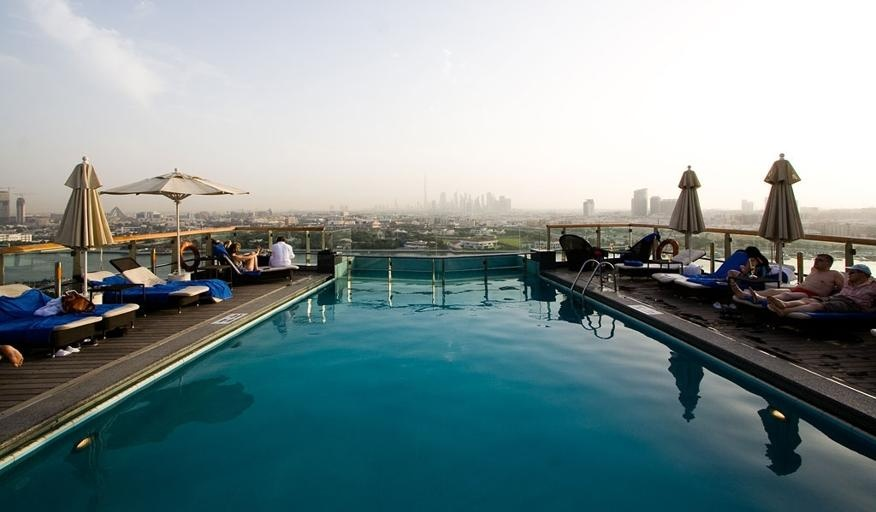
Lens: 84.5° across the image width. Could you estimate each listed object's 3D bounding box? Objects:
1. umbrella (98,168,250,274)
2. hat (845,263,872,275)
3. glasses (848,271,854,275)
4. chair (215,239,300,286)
[{"bbox_3d":[-6.237,-0.849,11.776,3.220,1.595,2.657,0,3,-2],"label":"umbrella"},{"bbox_3d":[7.494,0.215,8.553,0.322,0.127,0.209,13,-1,29],"label":"hat"},{"bbox_3d":[7.381,0.298,8.565,0.095,0.035,0.059,3,-1,8],"label":"glasses"},{"bbox_3d":[-4.669,0.232,12.192,1.735,0.707,1.056,-2,3,-17],"label":"chair"}]
